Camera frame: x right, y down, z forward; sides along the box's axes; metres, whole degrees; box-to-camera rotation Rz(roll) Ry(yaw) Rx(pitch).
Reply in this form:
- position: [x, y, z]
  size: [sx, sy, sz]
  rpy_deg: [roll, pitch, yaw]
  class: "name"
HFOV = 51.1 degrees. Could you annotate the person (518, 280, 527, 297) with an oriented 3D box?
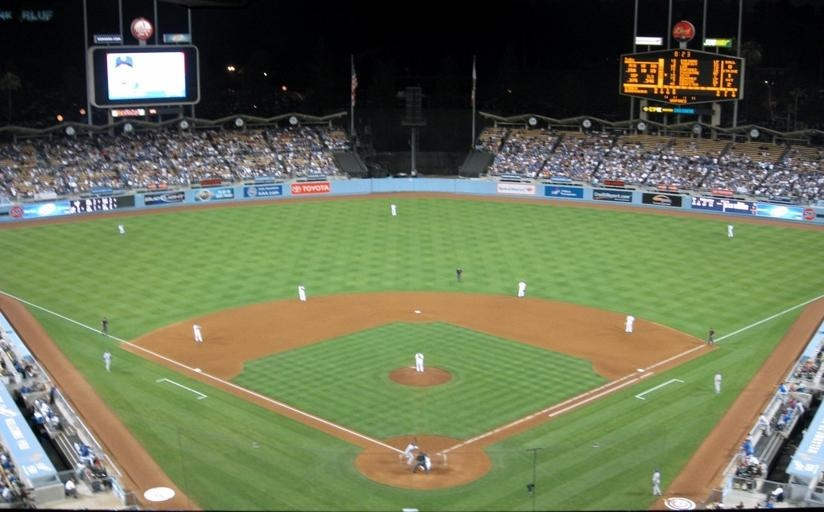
- position: [9.087, 2.859, 71.460]
  size: [1.163, 1.073, 0.364]
  rpy_deg: [2, 10, 3]
  class: "person"
